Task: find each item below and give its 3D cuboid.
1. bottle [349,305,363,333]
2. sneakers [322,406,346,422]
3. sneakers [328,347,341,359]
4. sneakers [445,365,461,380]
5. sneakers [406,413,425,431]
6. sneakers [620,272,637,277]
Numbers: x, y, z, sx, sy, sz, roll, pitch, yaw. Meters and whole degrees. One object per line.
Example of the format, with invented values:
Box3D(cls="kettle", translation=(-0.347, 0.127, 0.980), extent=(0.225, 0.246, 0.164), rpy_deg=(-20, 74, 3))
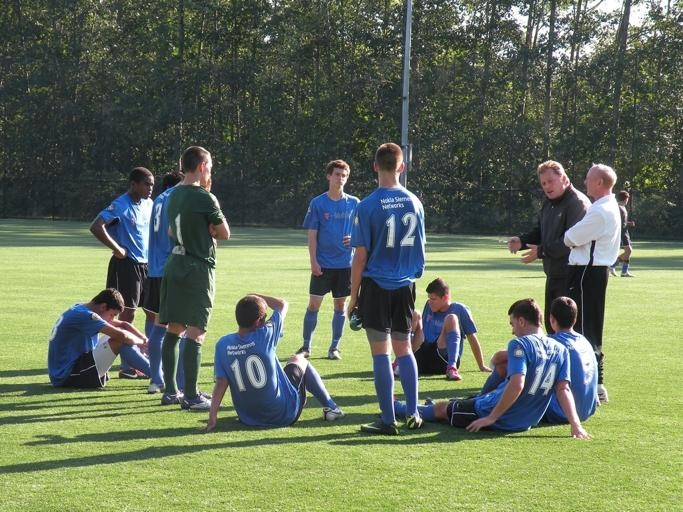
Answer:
Box3D(cls="bottle", translation=(0.251, 1.109, 19.751), extent=(0.235, 0.366, 0.188), rpy_deg=(0, 1, 7))
Box3D(cls="sneakers", translation=(-0.123, 2.784, 19.793), extent=(0.369, 0.185, 0.175), rpy_deg=(1, 0, -26))
Box3D(cls="sneakers", translation=(-0.143, 1.925, 22.226), extent=(0.156, 0.171, 0.400), rpy_deg=(1, -9, -7))
Box3D(cls="sneakers", translation=(2.104, 2.221, 21.259), extent=(0.162, 0.148, 0.322), rpy_deg=(1, -9, -14))
Box3D(cls="sneakers", translation=(1.277, 2.891, 19.622), extent=(0.155, 0.202, 0.321), rpy_deg=(4, 7, 32))
Box3D(cls="sneakers", translation=(7.926, 0.498, 31.216), extent=(0.399, 0.179, 0.136), rpy_deg=(0, 7, -16))
